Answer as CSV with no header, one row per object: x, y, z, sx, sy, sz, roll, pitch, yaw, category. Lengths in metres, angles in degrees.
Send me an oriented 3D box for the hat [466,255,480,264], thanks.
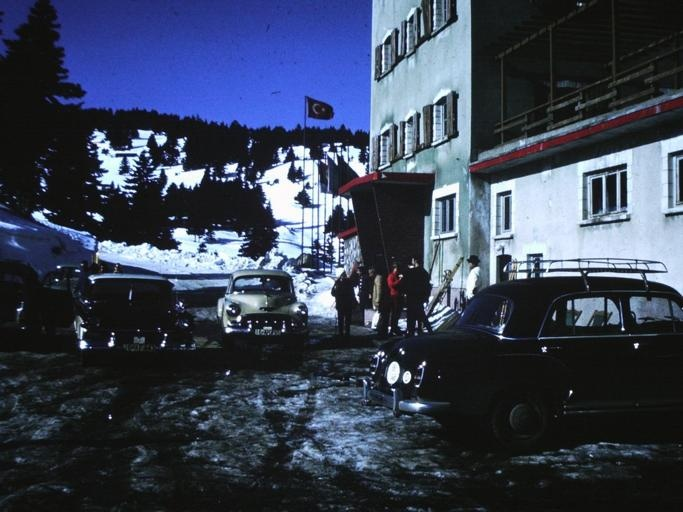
3.107,0.092,17.759,0.309,0.131,0.289,1,-2,21,hat

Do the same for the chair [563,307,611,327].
3.336,0.812,10.176,0.404,0.311,0.413,1,0,4,chair

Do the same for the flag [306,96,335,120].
-1.206,-8.550,43.652,1.298,1.265,1.678,0,5,-14,flag
